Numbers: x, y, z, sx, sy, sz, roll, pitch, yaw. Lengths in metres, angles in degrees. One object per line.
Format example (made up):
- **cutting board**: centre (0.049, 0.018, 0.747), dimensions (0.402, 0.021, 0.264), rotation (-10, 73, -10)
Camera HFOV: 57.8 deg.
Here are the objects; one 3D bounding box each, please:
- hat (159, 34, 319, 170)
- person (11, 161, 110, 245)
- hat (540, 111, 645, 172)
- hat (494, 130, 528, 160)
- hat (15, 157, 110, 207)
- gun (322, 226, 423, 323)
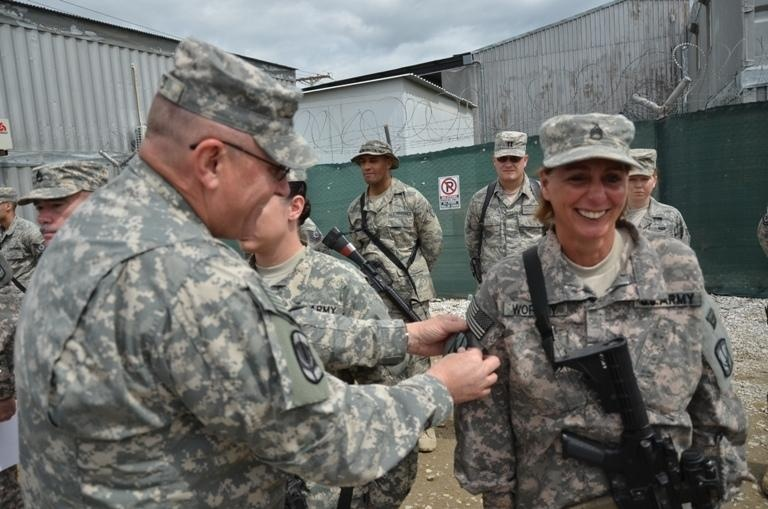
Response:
- **hat**: centre (-0.665, -0.868, 3.438), dimensions (0.858, 0.339, 0.553), rotation (-1, 18, -17)
- **person**: centre (-2.514, -0.395, 5.544), dimensions (0.503, 0.641, 0.711), rotation (-5, 4, 29)
- **hat**: centre (1.151, -0.647, 4.000), dimensions (0.548, 0.279, 0.752), rotation (0, 9, 4)
- **hat**: centre (1.391, -1.221, 7.634), dimensions (0.246, 0.189, 0.338), rotation (1, 7, 21)
- **hat**: centre (-2.630, -0.693, 5.759), dimensions (0.647, 0.312, 0.907), rotation (-19, 17, -38)
- **gun**: centre (-0.051, 0.171, 6.123), dimensions (0.146, 1.120, 0.269), rotation (-36, 13, 35)
